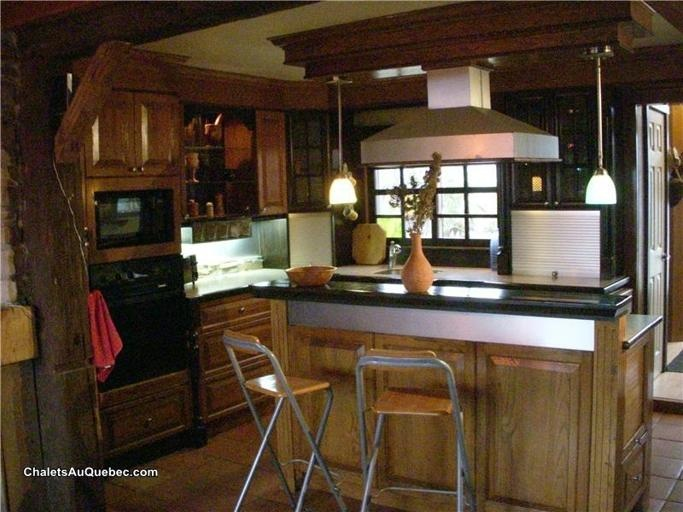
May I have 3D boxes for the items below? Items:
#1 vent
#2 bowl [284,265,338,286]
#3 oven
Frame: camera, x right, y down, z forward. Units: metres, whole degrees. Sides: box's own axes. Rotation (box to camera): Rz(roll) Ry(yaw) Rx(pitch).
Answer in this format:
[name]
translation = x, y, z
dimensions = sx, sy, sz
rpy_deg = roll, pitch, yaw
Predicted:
[vent]
translation = 0.928, -1.050, 4.513
dimensions = 1.315, 0.647, 1.063
rpy_deg = 4, 11, 31
[bowl]
translation = -0.221, 0.132, 3.911
dimensions = 0.319, 0.127, 0.217
rpy_deg = -2, 5, -7
[oven]
translation = -1.749, 0.534, 4.852
dimensions = 0.853, 1.062, 0.791
rpy_deg = -6, 3, -16
